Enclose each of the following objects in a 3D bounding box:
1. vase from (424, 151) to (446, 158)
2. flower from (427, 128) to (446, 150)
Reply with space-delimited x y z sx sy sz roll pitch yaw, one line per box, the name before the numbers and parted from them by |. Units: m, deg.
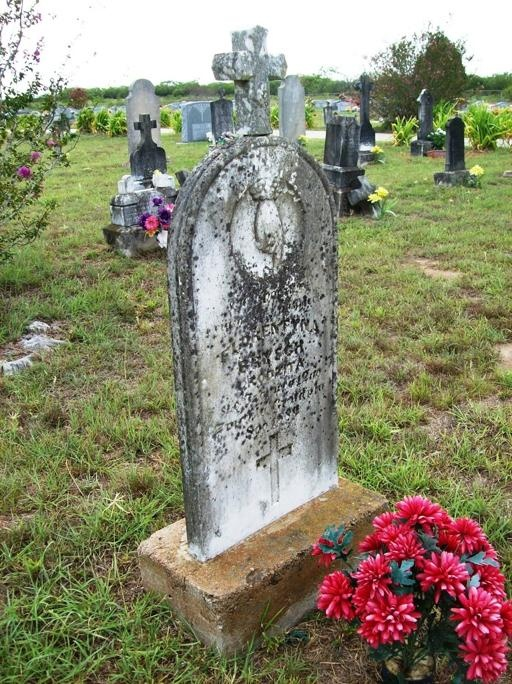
vase | 4.160 -4.441 14.664 0.388 0.187 0.481 2 15 11
flower | 4.223 -4.816 14.776 0.351 0.462 0.470 2 15 13
